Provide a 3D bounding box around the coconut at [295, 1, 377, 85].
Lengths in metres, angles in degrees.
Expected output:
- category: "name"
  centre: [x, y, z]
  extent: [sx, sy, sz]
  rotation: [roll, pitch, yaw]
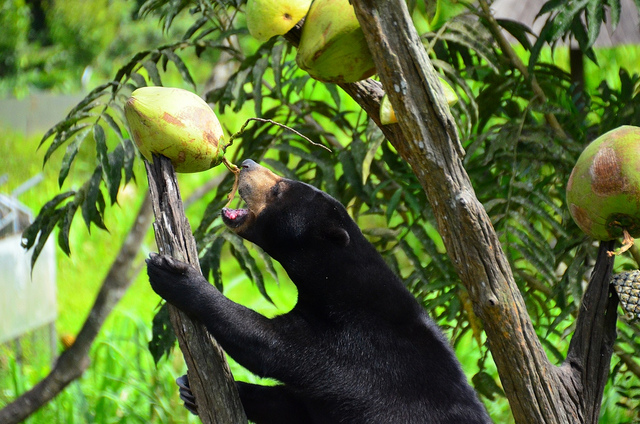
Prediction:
- category: "coconut"
  centre: [0.081, -0.849, 4.380]
  extent: [0.292, 0.403, 0.315]
  rotation: [-13, -57, 17]
